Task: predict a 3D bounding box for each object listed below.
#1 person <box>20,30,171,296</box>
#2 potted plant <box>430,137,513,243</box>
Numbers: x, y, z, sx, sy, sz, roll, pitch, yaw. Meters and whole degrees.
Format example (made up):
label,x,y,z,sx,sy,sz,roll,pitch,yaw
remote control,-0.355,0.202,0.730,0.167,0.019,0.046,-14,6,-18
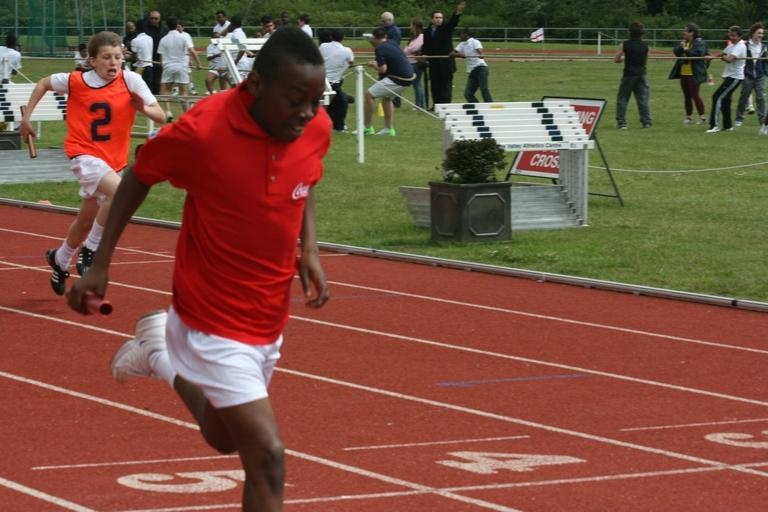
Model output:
label,x,y,z,sx,sy,sz,roll,pitch,yaw
person,-2.678,-0.962,9.667,1.240,2.497,1.633,-3,4,-43
potted plant,1.064,-0.731,12.581,0.924,1.049,0.983,0,3,-30
